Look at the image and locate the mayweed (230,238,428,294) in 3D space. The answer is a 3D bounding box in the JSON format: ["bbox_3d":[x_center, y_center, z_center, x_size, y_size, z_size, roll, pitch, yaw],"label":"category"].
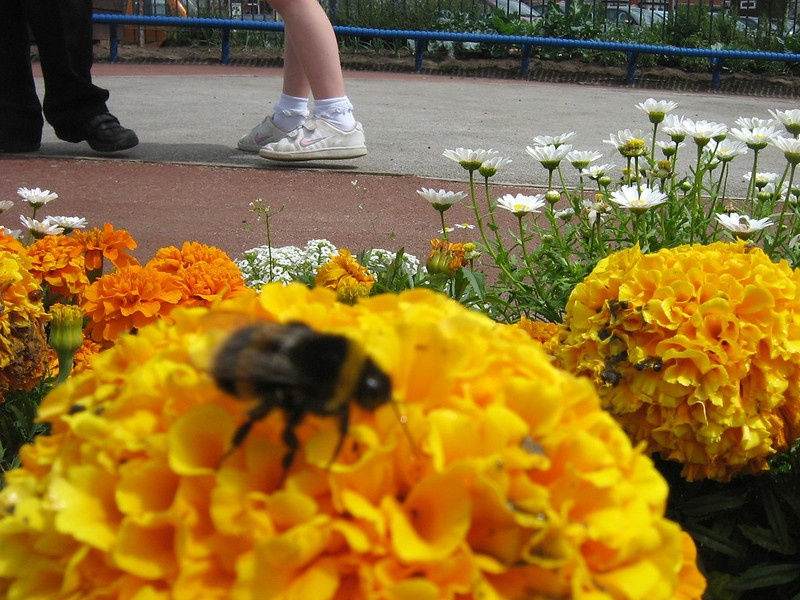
[{"bbox_3d":[-0.336,-0.130,2.414,0.313,0.128,0.323,12,16,41],"label":"mayweed"}]

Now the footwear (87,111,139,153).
[{"bbox_3d":[-1.808,-1.014,4.398,0.347,0.156,0.175,10,33,26],"label":"footwear"}]

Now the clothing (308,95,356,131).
[{"bbox_3d":[-0.379,-1.128,4.325,0.328,0.198,0.245,-7,10,-27],"label":"clothing"}]
